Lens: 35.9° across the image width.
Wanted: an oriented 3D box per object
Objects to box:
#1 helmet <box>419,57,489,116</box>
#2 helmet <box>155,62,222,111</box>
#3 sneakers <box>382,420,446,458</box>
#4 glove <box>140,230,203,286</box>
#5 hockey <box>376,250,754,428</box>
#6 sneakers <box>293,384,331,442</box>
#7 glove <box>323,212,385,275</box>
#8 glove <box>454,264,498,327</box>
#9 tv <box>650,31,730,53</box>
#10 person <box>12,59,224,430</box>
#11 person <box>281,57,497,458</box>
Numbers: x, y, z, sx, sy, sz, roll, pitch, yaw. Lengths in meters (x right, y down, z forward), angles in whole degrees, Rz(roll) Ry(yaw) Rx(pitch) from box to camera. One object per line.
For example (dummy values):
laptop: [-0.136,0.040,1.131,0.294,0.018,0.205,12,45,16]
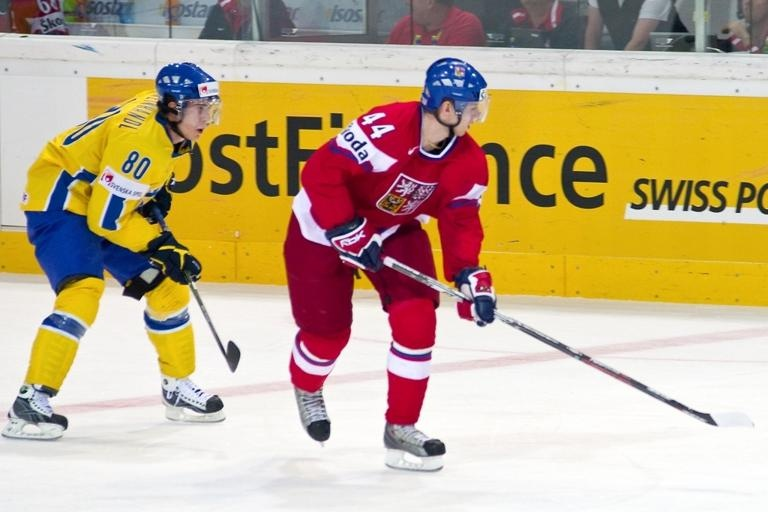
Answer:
helmet: [0.322,-0.863,6.062,0.353,0.289,0.256,-2,25,-6]
helmet: [-1.047,-0.927,6.449,0.328,0.261,0.238,3,24,5]
sneakers: [0.140,0.944,6.127,0.345,0.130,0.135,2,5,36]
glove: [-1.163,0.026,6.507,0.366,0.143,0.212,37,63,7]
hockey: [1.152,0.527,7.188,2.208,0.306,0.170,19,28,4]
sneakers: [-0.389,0.826,6.339,0.127,0.153,0.352,-14,56,-10]
glove: [-0.139,-0.062,5.929,0.236,0.304,0.142,-38,1,0]
glove: [0.485,0.206,6.172,0.213,0.303,0.136,2,11,29]
tv: [2.134,-1.486,8.267,0.568,0.130,0.065,2,12,0]
person: [-1.436,-0.049,6.462,1.134,1.981,0.668,1,12,-8]
person: [0.020,0.013,6.180,1.101,2.069,0.544,7,13,20]
